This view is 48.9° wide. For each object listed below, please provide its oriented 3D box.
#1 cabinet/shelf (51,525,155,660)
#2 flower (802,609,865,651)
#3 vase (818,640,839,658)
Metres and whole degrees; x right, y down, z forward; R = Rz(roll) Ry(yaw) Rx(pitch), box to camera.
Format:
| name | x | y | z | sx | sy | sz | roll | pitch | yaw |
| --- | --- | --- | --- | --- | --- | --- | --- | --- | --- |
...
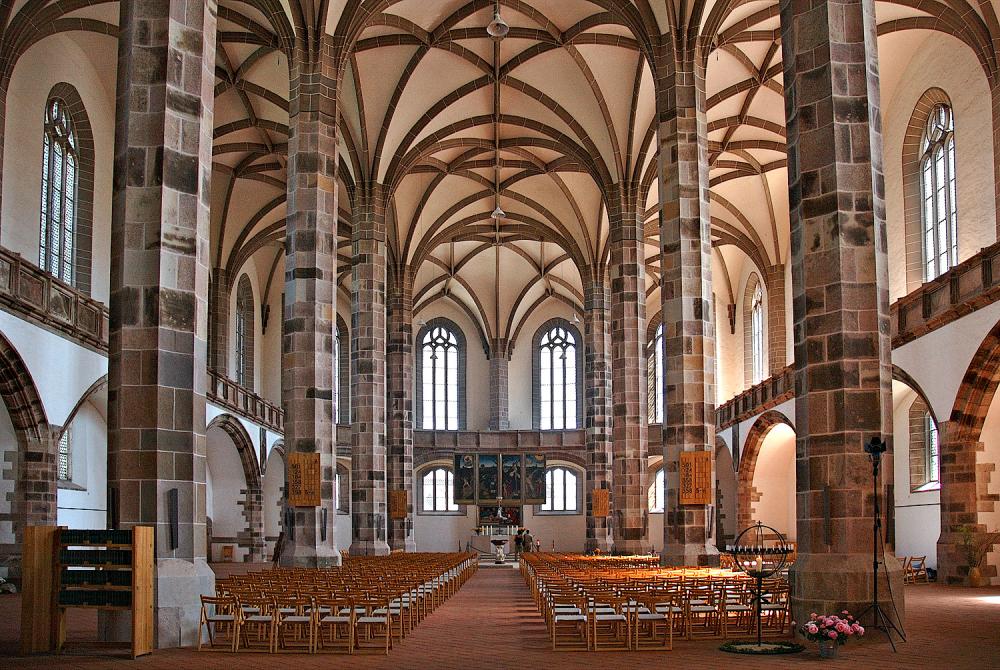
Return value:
| name | x | y | z | sx | sy | sz | roll | pitch | yaw |
| --- | --- | --- | --- | --- | --- | --- | --- | --- | --- |
| cabinet/shelf | -6.656 | 4.308 | 18.544 | 1.852 | 2.517 | 1.018 | -1 | -7 | 1 |
| flower | 5.487 | 4.860 | 18.313 | 0.787 | 0.538 | 0.810 | 3 | -10 | -9 |
| vase | 5.403 | 5.140 | 17.995 | 0.266 | 0.272 | 0.276 | 1 | -3 | -3 |
